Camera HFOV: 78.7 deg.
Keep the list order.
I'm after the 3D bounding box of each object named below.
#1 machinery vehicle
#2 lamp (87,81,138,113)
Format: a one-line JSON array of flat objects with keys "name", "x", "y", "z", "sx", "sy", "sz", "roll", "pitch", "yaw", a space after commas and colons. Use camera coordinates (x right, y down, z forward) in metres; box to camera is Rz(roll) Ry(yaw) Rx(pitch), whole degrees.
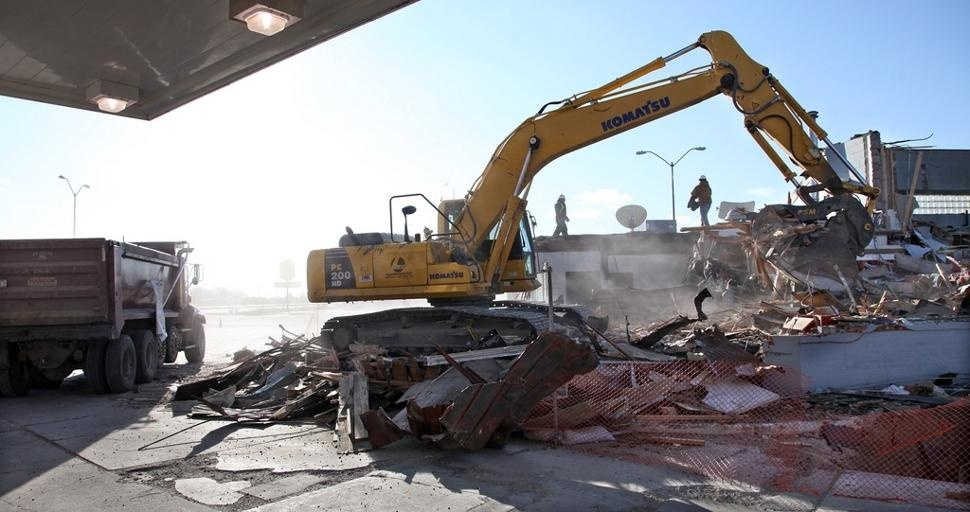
[{"name": "machinery vehicle", "x": 2.443, "y": -1.153, "z": 15.809, "sx": 14.032, "sy": 6.988, "sz": 4.981, "roll": -1, "pitch": 10, "yaw": 6}, {"name": "lamp", "x": -6.835, "y": -2.875, "z": 10.918, "sx": 0.822, "sy": 0.399, "sz": 0.770, "roll": 1, "pitch": -2, "yaw": 11}]
